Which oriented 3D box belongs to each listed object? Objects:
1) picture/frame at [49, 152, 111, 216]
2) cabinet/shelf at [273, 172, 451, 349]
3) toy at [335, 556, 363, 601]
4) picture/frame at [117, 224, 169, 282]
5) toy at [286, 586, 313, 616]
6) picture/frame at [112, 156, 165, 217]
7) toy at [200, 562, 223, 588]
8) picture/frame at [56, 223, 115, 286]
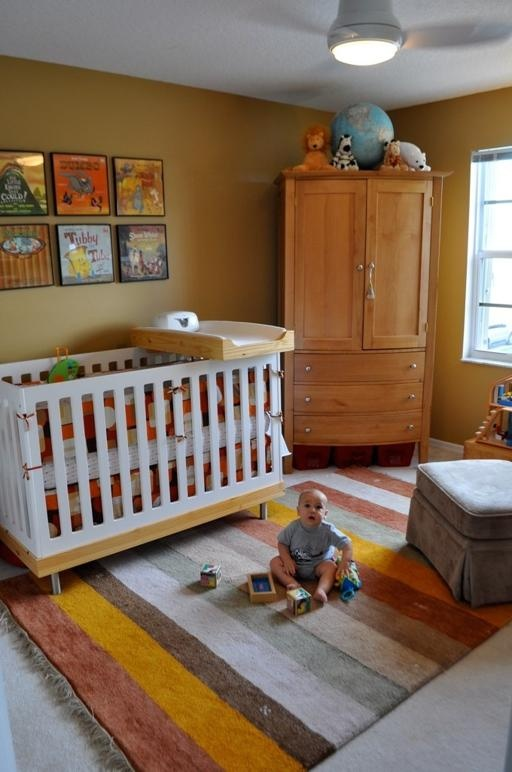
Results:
[{"bbox_3d":[-0.808,-0.915,2.586,0.022,0.311,0.306,9,14,41],"label":"picture/frame"},{"bbox_3d":[0.560,-0.679,3.102,0.949,1.261,0.489,-2,14,-5],"label":"cabinet/shelf"},{"bbox_3d":[0.332,0.693,2.036,0.046,0.076,0.119,-20,24,23],"label":"toy"},{"bbox_3d":[-0.580,-0.669,2.872,0.021,0.285,0.287,8,13,42],"label":"picture/frame"},{"bbox_3d":[0.143,0.710,1.899,0.071,0.070,0.071,0,-7,-24],"label":"toy"},{"bbox_3d":[-0.573,-0.982,2.828,0.261,0.266,0.016,4,17,12],"label":"picture/frame"},{"bbox_3d":[-0.163,0.695,2.081,0.065,0.067,0.045,10,-20,-20],"label":"toy"},{"bbox_3d":[-0.804,-0.612,2.652,0.020,0.287,0.284,9,14,39],"label":"picture/frame"}]
